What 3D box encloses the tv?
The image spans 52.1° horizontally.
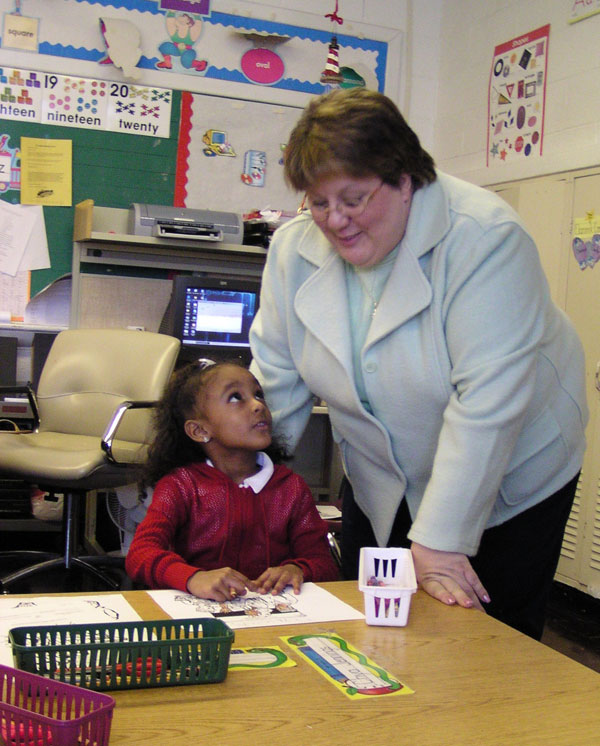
[{"bbox_3d":[-0.435,-0.239,3.084,0.545,0.452,0.287,3,7,-13],"label":"tv"}]

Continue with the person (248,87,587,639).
[{"bbox_3d":[0.233,0.029,1.055,0.609,0.826,0.469,4,-5,-10],"label":"person"}]

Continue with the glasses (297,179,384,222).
[{"bbox_3d":[0.065,-0.240,0.882,0.059,0.024,0.075,-7,2,26],"label":"glasses"}]

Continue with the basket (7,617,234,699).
[{"bbox_3d":[-0.151,0.217,0.516,0.152,0.036,0.074,0,1,-15],"label":"basket"}]

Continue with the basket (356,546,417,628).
[{"bbox_3d":[0.106,0.259,0.749,0.055,0.037,0.095,0,9,2],"label":"basket"}]
